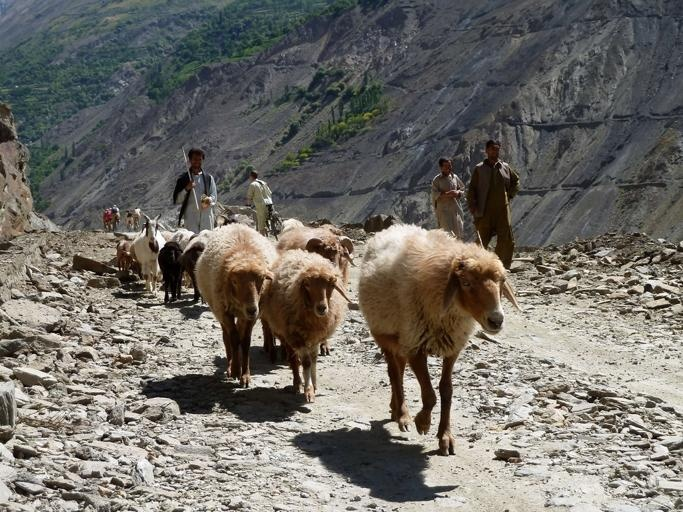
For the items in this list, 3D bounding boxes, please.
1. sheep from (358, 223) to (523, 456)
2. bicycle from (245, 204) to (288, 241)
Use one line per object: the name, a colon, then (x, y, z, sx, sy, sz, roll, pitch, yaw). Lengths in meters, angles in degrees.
sheep: (1.050, 0.913, 9.098, 0.865, 2.290, 2.002, -6, 14, -35)
bicycle: (-1.909, -1.021, 21.681, 0.992, 0.940, 1.485, -25, 3, -12)
